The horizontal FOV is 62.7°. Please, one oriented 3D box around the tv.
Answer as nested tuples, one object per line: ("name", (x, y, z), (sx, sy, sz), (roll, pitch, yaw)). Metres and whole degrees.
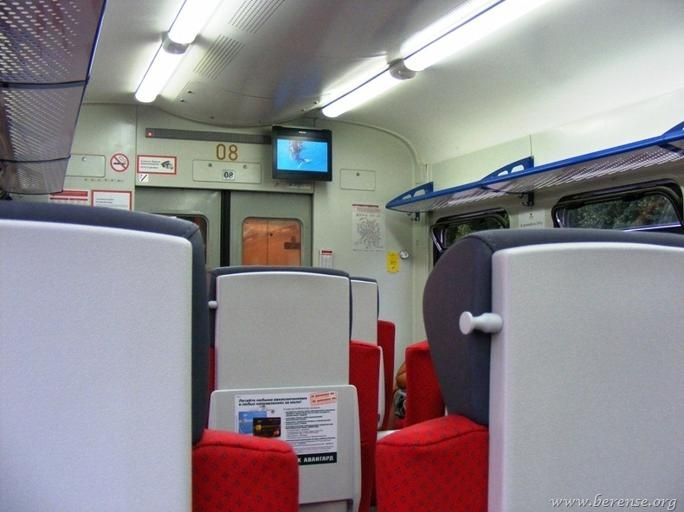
("tv", (-0.450, -1.097, 6.058), (0.574, 0.549, 0.078), (0, 0, -16))
